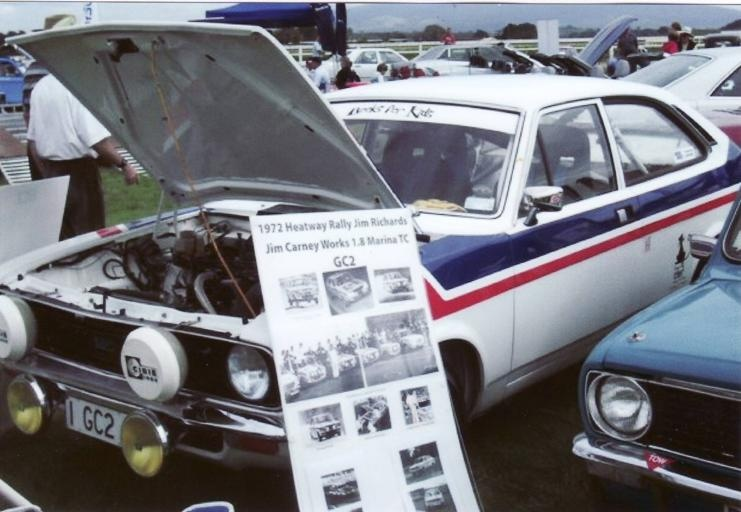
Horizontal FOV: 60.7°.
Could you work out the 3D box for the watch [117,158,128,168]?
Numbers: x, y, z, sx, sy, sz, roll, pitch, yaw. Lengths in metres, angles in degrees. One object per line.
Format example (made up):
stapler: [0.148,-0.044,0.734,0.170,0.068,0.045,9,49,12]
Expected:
watch: [-2.065,-0.779,5.278,0.080,0.085,0.083,2,-15,-44]
